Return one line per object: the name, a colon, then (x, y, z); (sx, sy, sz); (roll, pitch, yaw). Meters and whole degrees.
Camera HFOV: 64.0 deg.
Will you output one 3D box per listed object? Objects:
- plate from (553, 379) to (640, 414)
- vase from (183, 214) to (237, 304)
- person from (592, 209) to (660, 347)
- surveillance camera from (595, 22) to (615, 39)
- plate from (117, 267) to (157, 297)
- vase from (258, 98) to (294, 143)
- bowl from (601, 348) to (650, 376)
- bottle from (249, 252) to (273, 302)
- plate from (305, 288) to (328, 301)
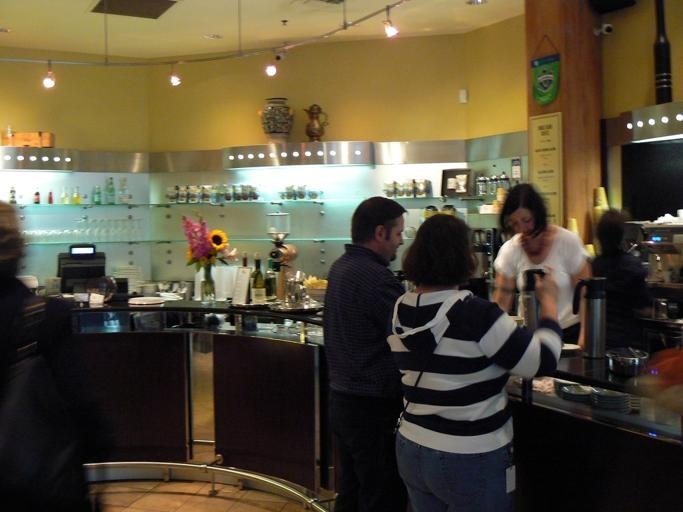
plate: (1.022, 0.601, 2.304); (0.036, 0.092, 0.350); (-8, 7, -40)
vase: (-1.024, 0.010, 4.427); (0.350, 0.662, 0.422); (-4, 6, -15)
person: (1.717, 0.143, 3.509); (0.319, 0.859, 0.464); (-1, 6, 19)
surveillance camera: (2.404, -2.166, 5.218); (0.168, 0.149, 0.246); (3, 13, 7)
plate: (-2.388, 0.308, 6.628); (0.467, 0.208, 0.547); (-1, 3, -26)
vase: (-0.773, -1.706, 6.805); (0.382, 0.565, 0.242); (-3, 6, 0)
bowl: (1.158, 0.462, 2.319); (0.149, 0.085, 0.144); (-2, 5, 0)
bottle: (-0.581, 0.173, 4.108); (0.172, 0.327, 0.430); (-3, 5, -7)
plate: (-0.185, 0.287, 4.017); (0.229, 0.076, 0.206); (0, -3, 0)
